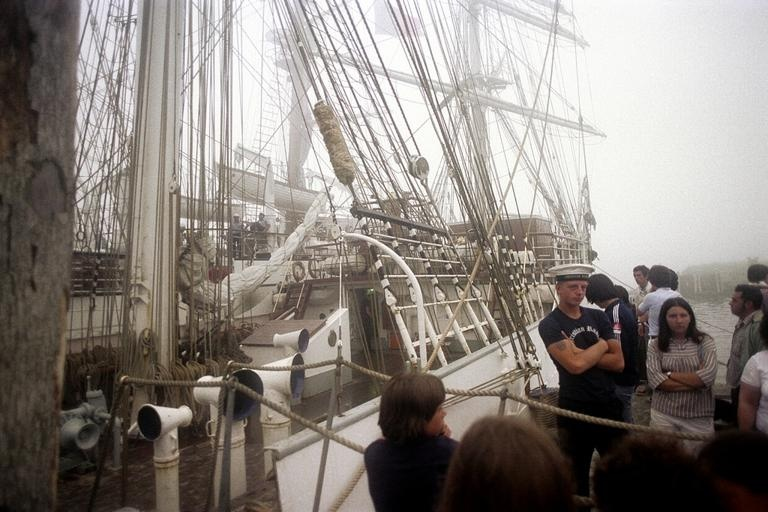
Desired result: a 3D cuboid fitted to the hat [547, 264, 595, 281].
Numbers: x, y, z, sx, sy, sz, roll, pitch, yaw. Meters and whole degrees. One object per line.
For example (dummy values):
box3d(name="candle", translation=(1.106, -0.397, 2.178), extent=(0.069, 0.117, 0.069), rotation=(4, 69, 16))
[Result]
box3d(name="hat", translation=(1.623, 0.139, 4.271), extent=(0.386, 0.155, 0.439), rotation=(-1, -4, 2))

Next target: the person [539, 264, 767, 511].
box3d(name="person", translation=(1.828, 0.956, 3.899), extent=(0.972, 1.821, 0.839), rotation=(1, -6, -40))
